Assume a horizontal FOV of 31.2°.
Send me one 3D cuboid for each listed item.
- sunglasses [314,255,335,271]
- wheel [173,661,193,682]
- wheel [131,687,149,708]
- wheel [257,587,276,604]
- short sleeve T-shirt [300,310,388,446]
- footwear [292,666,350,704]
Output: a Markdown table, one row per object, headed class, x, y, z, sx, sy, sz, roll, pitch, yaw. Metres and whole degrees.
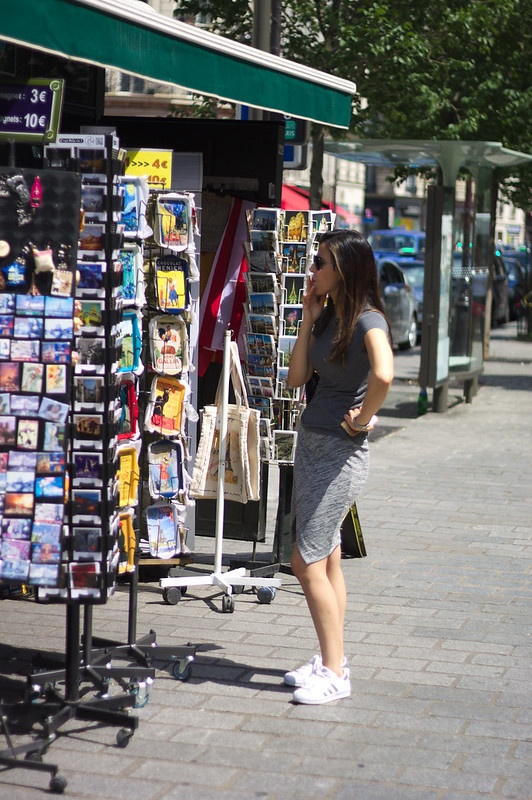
| class | x | y | z | sx | sy | sz | roll | pitch | yaw |
| --- | --- | --- | --- | --- | --- | --- | --- | --- | --- |
| sunglasses | 0.220 | -0.514 | 3.568 | 0.068 | 0.025 | 0.053 | 5 | 3 | -8 |
| wheel | -0.331 | 1.085 | 3.776 | 0.071 | 0.071 | 0.028 | 10 | -4 | 5 |
| wheel | -0.447 | 1.067 | 3.394 | 0.056 | 0.073 | 0.076 | 2 | -9 | 1 |
| wheel | -0.006 | 0.992 | 4.864 | 0.093 | 0.082 | 0.072 | -6 | 7 | -16 |
| short sleeve T-shirt | 0.251 | -0.080 | 3.616 | 0.238 | 0.444 | 0.175 | 12 | 9 | 28 |
| footwear | 0.217 | 1.068 | 3.596 | 0.256 | 0.121 | 0.093 | 0 | 0 | -37 |
